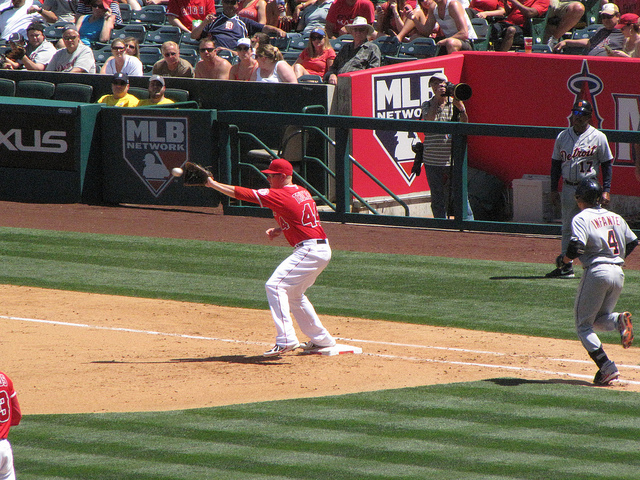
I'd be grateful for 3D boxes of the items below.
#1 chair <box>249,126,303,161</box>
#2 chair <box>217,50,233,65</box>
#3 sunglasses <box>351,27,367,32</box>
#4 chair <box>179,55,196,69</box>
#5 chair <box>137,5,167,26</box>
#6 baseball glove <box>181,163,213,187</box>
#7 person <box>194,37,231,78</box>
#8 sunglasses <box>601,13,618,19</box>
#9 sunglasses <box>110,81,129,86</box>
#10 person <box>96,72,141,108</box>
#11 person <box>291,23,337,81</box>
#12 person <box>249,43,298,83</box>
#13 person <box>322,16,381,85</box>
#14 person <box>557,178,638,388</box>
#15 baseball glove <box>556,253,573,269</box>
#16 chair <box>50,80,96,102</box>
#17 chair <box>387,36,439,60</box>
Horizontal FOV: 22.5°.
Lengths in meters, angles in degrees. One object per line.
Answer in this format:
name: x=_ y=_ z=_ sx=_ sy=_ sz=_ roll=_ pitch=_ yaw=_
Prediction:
chair: x=-0.508 y=-1.571 z=26.511 sx=0.462 sy=0.558 sz=0.244 roll=1 pitch=1 yaw=0
chair: x=-1.684 y=-3.252 z=28.815 sx=0.300 sy=0.361 sz=0.290 roll=0 pitch=-1 yaw=2
sunglasses: x=0.650 y=-3.468 z=26.770 sx=0.247 sy=0.070 sz=0.086 roll=1 pitch=1 yaw=20
chair: x=-2.406 y=-3.232 z=29.494 sx=0.267 sy=0.288 sz=0.251 roll=0 pitch=1 yaw=1
chair: x=-3.291 y=-4.406 z=32.019 sx=0.564 sy=0.540 sz=0.475 roll=1 pitch=9 yaw=4
baseball glove: x=-1.442 y=-0.759 z=18.951 sx=0.322 sy=0.237 sz=0.492 roll=1 pitch=1 yaw=-4
person: x=-1.840 y=-3.109 z=27.831 sx=0.620 sy=0.645 sz=0.673 roll=1 pitch=1 yaw=-6
sunglasses: x=4.730 y=-3.639 z=26.514 sx=0.129 sy=0.113 sz=0.132 roll=-7 pitch=-12 yaw=32
sunglasses: x=-3.384 y=-2.634 z=27.343 sx=0.241 sy=0.071 sz=0.135 roll=0 pitch=1 yaw=-10
person: x=-3.443 y=-2.537 z=27.660 sx=0.786 sy=0.406 sz=0.327 roll=3 pitch=-14 yaw=-2
person: x=-0.156 y=-3.141 z=27.777 sx=0.787 sy=0.950 sz=0.701 roll=-8 pitch=19 yaw=-33
person: x=-0.773 y=-2.930 z=27.015 sx=0.794 sy=0.590 sz=0.546 roll=1 pitch=1 yaw=-1
person: x=0.531 y=-3.047 z=27.000 sx=0.870 sy=1.169 sz=0.796 roll=14 pitch=8 yaw=21
person: x=3.206 y=0.507 z=18.464 sx=0.808 sy=2.348 sz=0.440 roll=1 pitch=1 yaw=7
baseball glove: x=3.014 y=0.265 z=19.842 sx=0.230 sy=0.229 sz=0.215 roll=1 pitch=10 yaw=-3
chair: x=-4.339 y=-2.580 z=28.409 sx=0.521 sy=0.571 sz=0.494 roll=11 pitch=17 yaw=0
chair: x=1.619 y=-3.285 z=27.855 sx=0.570 sy=0.625 sz=0.523 roll=2 pitch=7 yaw=16
